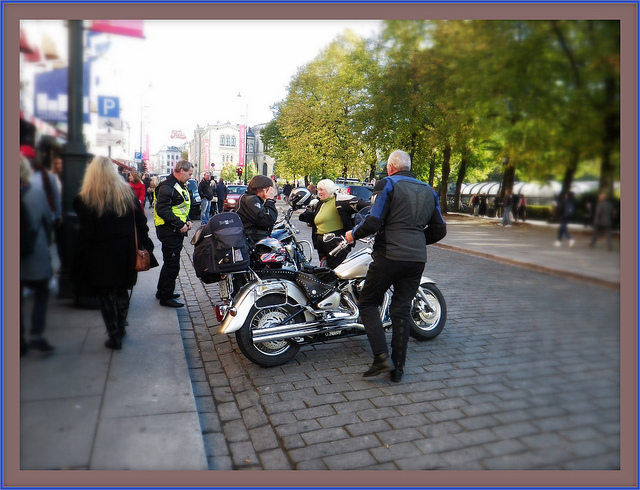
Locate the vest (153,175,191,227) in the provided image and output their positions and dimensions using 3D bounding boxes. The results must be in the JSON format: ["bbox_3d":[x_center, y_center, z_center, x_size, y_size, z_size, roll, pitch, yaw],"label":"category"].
[{"bbox_3d":[-2.124,-0.638,7.316,0.501,0.691,0.564,-2,13,-17],"label":"vest"}]

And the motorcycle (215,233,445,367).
[{"bbox_3d":[0.230,0.494,5.659,2.584,1.426,1.107,-4,4,-20],"label":"motorcycle"}]

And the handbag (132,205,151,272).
[{"bbox_3d":[-2.036,-0.070,5.799,0.155,0.740,0.376,-3,13,-18],"label":"handbag"}]

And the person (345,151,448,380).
[{"bbox_3d":[0.730,0.183,5.102,0.631,2.178,0.945,12,16,40],"label":"person"}]

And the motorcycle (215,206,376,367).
[{"bbox_3d":[0.177,0.398,5.542,2.417,1.503,1.224,-7,-1,-25],"label":"motorcycle"}]

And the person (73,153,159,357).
[{"bbox_3d":[-2.265,0.084,5.599,0.717,2.047,0.650,-5,14,-25],"label":"person"}]

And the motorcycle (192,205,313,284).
[{"bbox_3d":[-0.646,0.030,5.994,1.732,0.797,0.815,-3,-7,-42],"label":"motorcycle"}]
